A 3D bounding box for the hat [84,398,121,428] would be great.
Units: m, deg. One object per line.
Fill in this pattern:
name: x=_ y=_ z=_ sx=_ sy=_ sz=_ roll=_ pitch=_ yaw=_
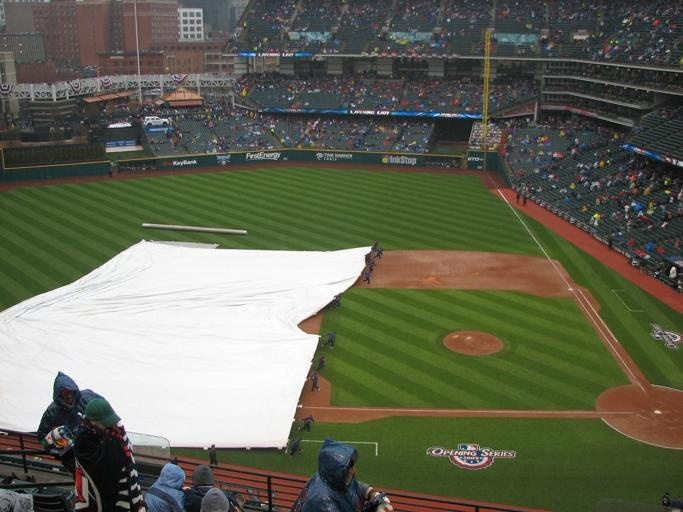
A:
hat: x=-6.206 y=4.077 z=22.207 sx=1.059 sy=0.452 sz=0.648 roll=12 pitch=16 yaw=5
